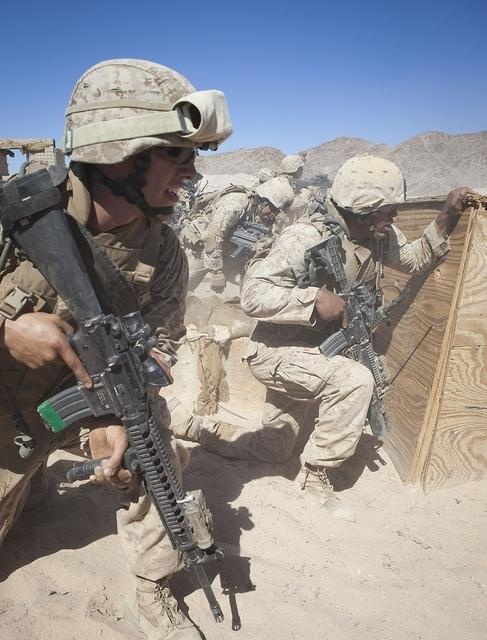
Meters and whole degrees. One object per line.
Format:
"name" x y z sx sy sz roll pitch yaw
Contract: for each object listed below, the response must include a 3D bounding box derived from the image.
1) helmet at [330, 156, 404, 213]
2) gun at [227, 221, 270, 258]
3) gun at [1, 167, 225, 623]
"helmet" 0.824 -0.871 3.609 0.460 0.319 0.415 0 18 13
"gun" 0.062 -1.133 7.508 0.532 0.501 0.240 -35 -34 14
"gun" -0.571 0.408 2.251 0.616 2.019 0.613 -15 18 -12
